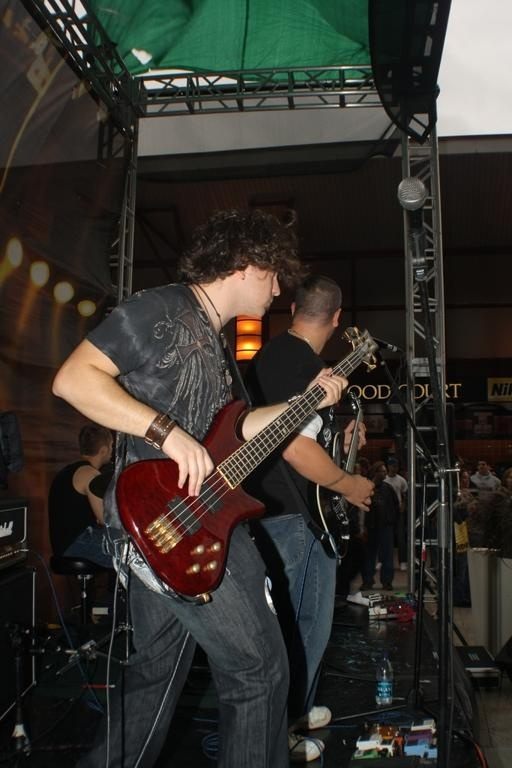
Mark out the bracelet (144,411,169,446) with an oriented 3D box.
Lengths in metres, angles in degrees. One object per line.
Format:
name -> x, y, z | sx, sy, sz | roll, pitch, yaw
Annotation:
bracelet -> -0.238, 0.113, 1.601 | 0.021, 0.069, 0.070 | 32, -40, -10

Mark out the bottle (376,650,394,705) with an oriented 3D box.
bottle -> 0.711, 1.609, 3.488 | 0.097, 0.240, 0.377 | 1, -10, 12

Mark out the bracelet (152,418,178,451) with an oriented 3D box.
bracelet -> -0.220, 0.128, 1.600 | 0.017, 0.068, 0.068 | 28, -34, -12

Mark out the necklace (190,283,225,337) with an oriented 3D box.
necklace -> -0.153, -0.228, 1.910 | 0.030, 0.076, 0.189 | -26, -52, 18

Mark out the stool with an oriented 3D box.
stool -> -1.285, 1.602, 4.727 | 0.439, 0.645, 0.436 | -13, -21, 11

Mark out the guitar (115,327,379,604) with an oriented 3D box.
guitar -> -0.108, 0.300, 1.828 | 0.230, 0.597, 0.655 | -6, -14, 41

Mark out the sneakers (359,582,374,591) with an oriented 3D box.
sneakers -> 1.285, 2.351, 7.293 | 0.254, 0.105, 0.090 | 12, -20, -42

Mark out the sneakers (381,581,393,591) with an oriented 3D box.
sneakers -> 1.540, 2.388, 7.399 | 0.068, 0.123, 0.131 | 2, -17, -8

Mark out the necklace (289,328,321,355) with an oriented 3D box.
necklace -> 0.212, -0.202, 3.018 | 0.164, 0.038, 0.096 | 26, 5, 7

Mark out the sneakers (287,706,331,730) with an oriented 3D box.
sneakers -> 0.257, 1.603, 2.985 | 0.161, 0.091, 0.061 | -12, -5, -26
